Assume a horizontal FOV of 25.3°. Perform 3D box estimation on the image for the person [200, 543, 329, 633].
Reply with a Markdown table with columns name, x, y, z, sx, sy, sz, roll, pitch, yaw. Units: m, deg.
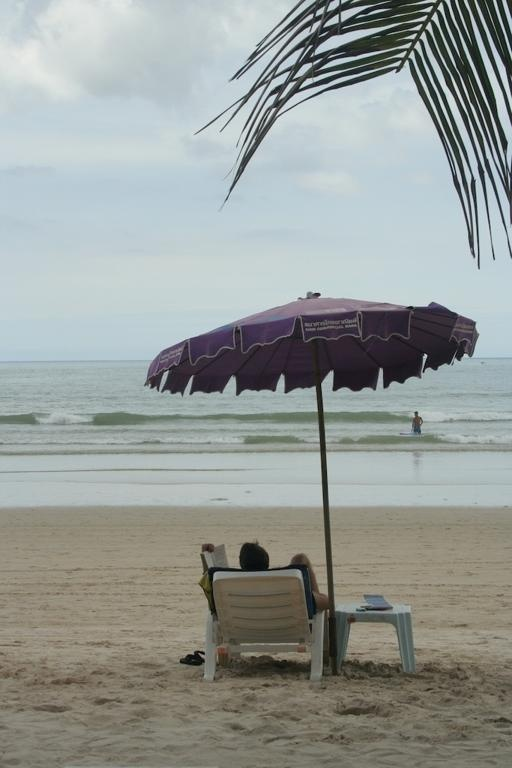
| name | x | y | z | sx | sy | sz | roll | pitch | yaw |
| --- | --- | --- | --- | --- | --- | --- | --- | --- | --- |
| person | 0.035 | 1.082 | 6.460 | 0.728 | 0.382 | 0.882 | -1 | -2 | 5 |

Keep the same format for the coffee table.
| name | x | y | z | sx | sy | sz | roll | pitch | yaw |
| --- | --- | --- | --- | --- | --- | --- | --- | --- | --- |
| coffee table | 0.648 | 1.407 | 6.347 | 0.479 | 0.342 | 0.494 | -1 | -2 | 14 |

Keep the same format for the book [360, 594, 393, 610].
| name | x | y | z | sx | sy | sz | roll | pitch | yaw |
| --- | --- | --- | --- | --- | --- | --- | --- | --- | --- |
| book | 0.665 | 1.236 | 6.467 | 0.118 | 0.042 | 0.096 | 1 | 3 | 11 |
